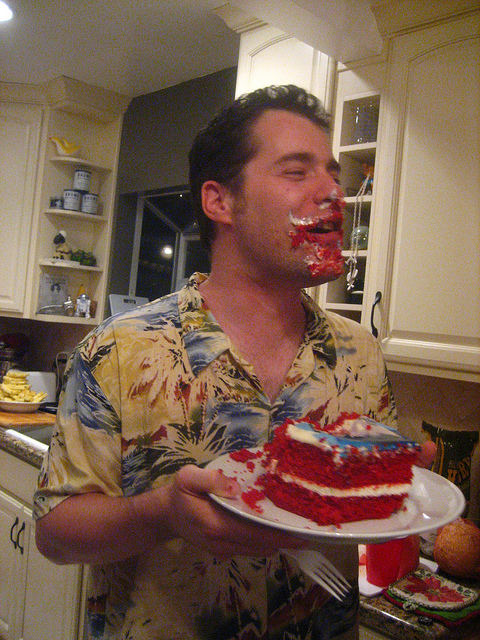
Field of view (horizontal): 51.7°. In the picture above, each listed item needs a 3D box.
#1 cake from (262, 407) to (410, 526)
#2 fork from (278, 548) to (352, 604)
[{"bbox_3d":[0.090,0.138,0.502,0.102,0.058,0.097,1,4,-21],"label":"cake"},{"bbox_3d":[0.074,0.236,0.474,0.085,0.023,0.007,40,-32,-20],"label":"fork"}]
